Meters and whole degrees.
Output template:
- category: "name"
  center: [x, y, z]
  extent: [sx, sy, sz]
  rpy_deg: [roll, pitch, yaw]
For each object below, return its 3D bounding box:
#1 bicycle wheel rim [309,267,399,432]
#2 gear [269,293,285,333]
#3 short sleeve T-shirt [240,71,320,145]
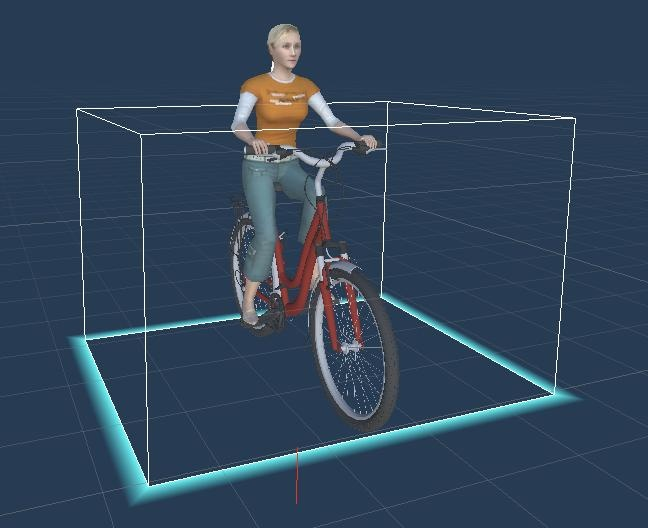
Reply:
- category: "bicycle wheel rim"
  center: [0.152, 0.408, 2.799]
  extent: [0.186, 0.807, 0.656]
  rpy_deg: [-8, 26, -26]
- category: "gear"
  center: [-0.285, 0.282, 3.368]
  extent: [0.057, 0.187, 0.155]
  rpy_deg: [-8, 6, -11]
- category: "short sleeve T-shirt"
  center: [-0.242, -0.915, 3.160]
  extent: [0.505, 0.388, 0.237]
  rpy_deg: [-9, 37, -23]
